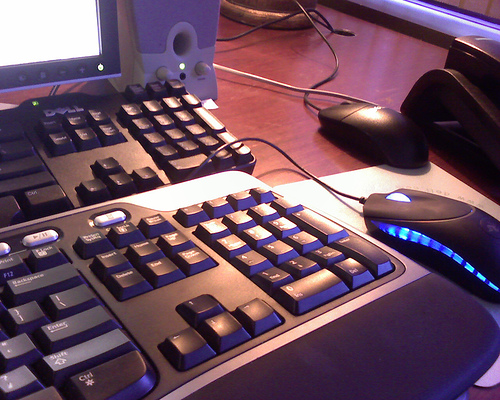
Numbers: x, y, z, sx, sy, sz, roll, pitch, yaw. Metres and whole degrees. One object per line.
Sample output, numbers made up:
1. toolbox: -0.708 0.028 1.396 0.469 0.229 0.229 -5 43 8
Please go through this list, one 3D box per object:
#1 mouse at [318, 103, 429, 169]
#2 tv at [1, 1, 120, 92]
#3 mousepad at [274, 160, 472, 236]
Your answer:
1. mouse: 0.203 -0.135 0.780 0.096 0.057 0.188 -24 42 -28
2. tv: -0.265 -0.219 0.619 0.165 0.134 0.011 -9 26 -28
3. mousepad: 0.163 -0.002 0.615 0.220 0.019 0.281 12 22 37
